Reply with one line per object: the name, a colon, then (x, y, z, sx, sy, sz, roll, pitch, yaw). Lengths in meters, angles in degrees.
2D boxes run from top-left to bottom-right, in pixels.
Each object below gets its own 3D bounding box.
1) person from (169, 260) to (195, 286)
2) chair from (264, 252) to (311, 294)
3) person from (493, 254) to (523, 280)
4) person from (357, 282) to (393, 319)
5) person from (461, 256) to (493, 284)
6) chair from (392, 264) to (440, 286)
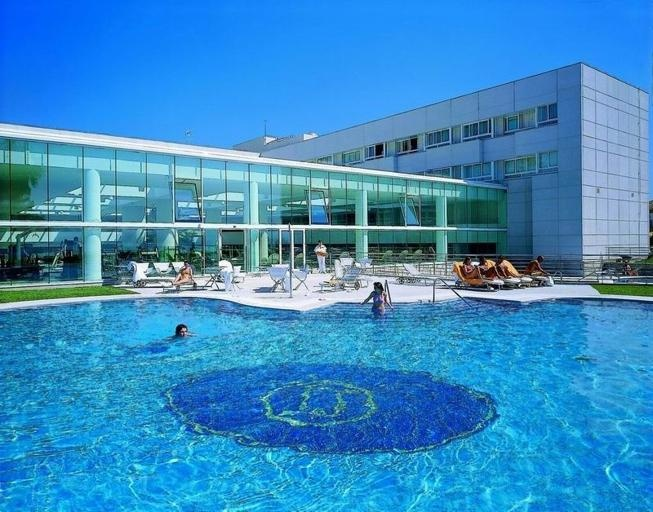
person: (-6.201, 0.910, 21.870, 0.969, 1.101, 1.158, -2, -11, 20)
chair: (-1.739, 0.969, 21.574, 1.682, 1.241, 1.275, -2, -1, 16)
person: (7.898, 0.582, 22.405, 0.992, 0.580, 1.371, -13, 32, -29)
person: (1.698, 1.595, 17.282, 1.281, 1.691, 0.677, -2, 0, 8)
person: (6.458, 0.745, 21.518, 1.310, 1.105, 0.853, -6, -7, 33)
chair: (4.443, 0.919, 24.081, 2.010, 0.766, 1.028, -2, -1, 38)
